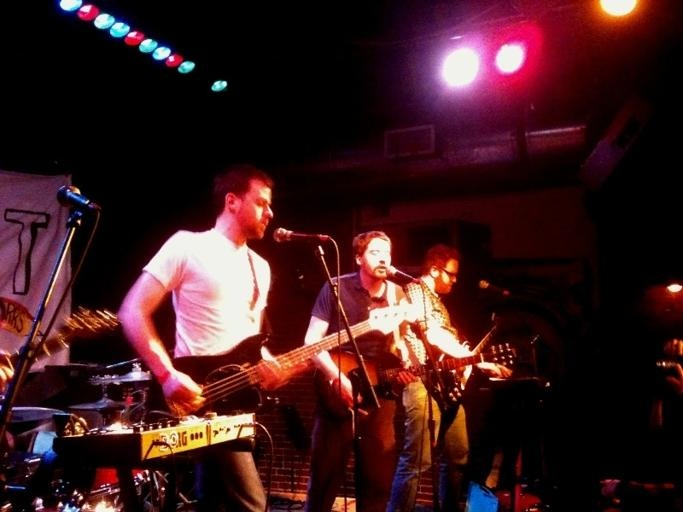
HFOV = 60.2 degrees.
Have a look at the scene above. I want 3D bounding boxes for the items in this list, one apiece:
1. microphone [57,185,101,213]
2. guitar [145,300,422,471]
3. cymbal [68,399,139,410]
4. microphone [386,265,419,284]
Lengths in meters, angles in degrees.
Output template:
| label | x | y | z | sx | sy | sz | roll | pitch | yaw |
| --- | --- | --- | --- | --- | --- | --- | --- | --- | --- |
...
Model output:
| label | x | y | z | sx | sy | sz | roll | pitch | yaw |
| --- | --- | --- | --- | --- | --- | --- | --- | --- | --- |
| microphone | -1.849 | -0.393 | 4.163 | 0.304 | 0.182 | 0.164 | 24 | 5 | 25 |
| guitar | -0.362 | 0.734 | 4.516 | 1.675 | 1.121 | 0.439 | 21 | -27 | -31 |
| cymbal | -2.884 | 1.789 | 7.108 | 0.374 | 0.087 | 0.386 | 1 | -5 | -8 |
| microphone | 0.641 | 0.194 | 6.090 | 0.350 | 0.094 | 0.098 | 18 | 5 | -14 |
